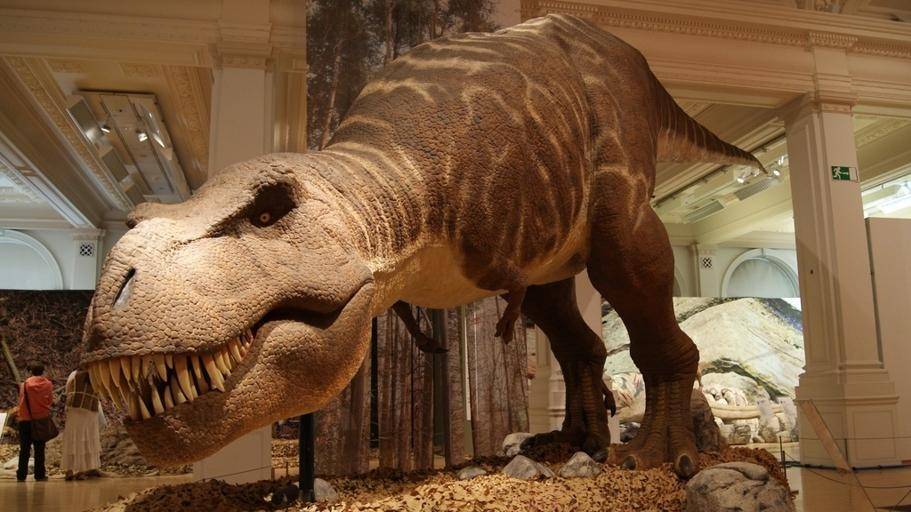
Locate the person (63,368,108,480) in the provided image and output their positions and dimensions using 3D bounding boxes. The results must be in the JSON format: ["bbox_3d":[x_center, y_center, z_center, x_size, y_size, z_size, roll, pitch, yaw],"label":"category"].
[{"bbox_3d":[-5.339,2.386,9.472,0.463,1.650,0.535,-7,1,2],"label":"person"}]
